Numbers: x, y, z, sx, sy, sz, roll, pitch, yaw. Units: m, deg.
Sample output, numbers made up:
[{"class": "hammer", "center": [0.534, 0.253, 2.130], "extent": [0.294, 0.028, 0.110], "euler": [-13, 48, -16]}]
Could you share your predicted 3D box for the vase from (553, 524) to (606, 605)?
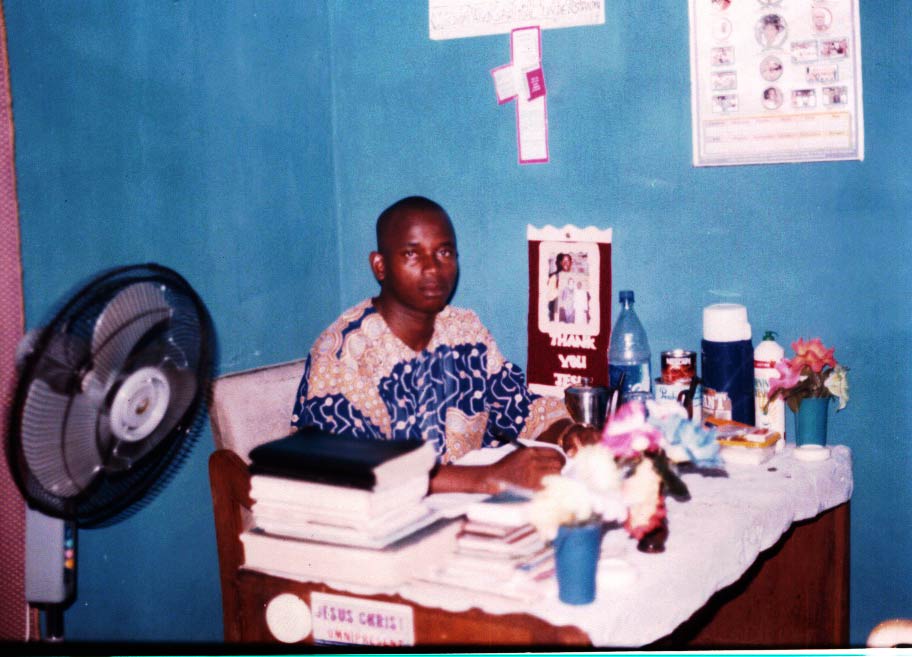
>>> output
[{"class": "vase", "center": [0.245, 0.481, 1.913], "extent": [0.131, 0.215, 0.151], "euler": [0, -1, 1]}]

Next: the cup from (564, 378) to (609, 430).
[{"class": "cup", "center": [0.372, 0.215, 2.590], "extent": [0.108, 0.129, 0.115], "euler": [-1, 6, 0]}]

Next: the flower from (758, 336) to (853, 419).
[{"class": "flower", "center": [0.996, 0.124, 2.568], "extent": [0.208, 0.165, 0.205], "euler": [-17, 30, -34]}]

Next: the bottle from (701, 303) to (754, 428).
[{"class": "bottle", "center": [0.812, 0.103, 2.660], "extent": [0.158, 0.350, 0.099], "euler": [2, 5, 17]}]
